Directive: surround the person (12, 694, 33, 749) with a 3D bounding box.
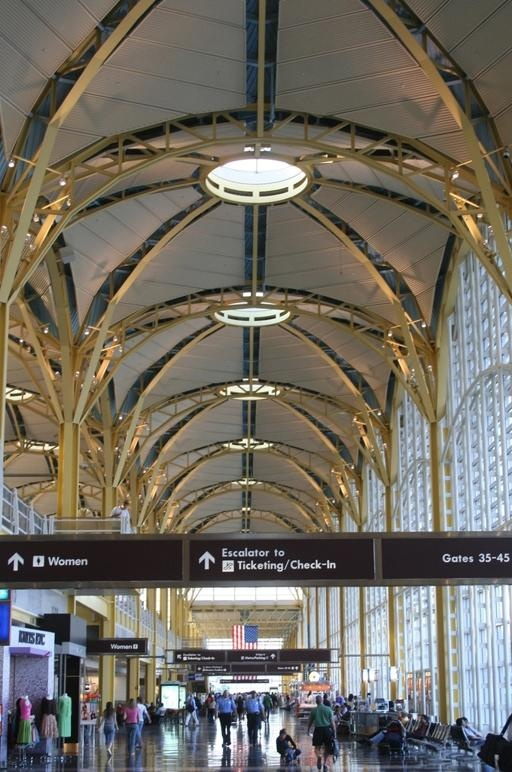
[{"bbox_3d":[-5.739,8.253,22.513,0.428,1.000,0.756,-3,1,-17],"label":"person"}]
